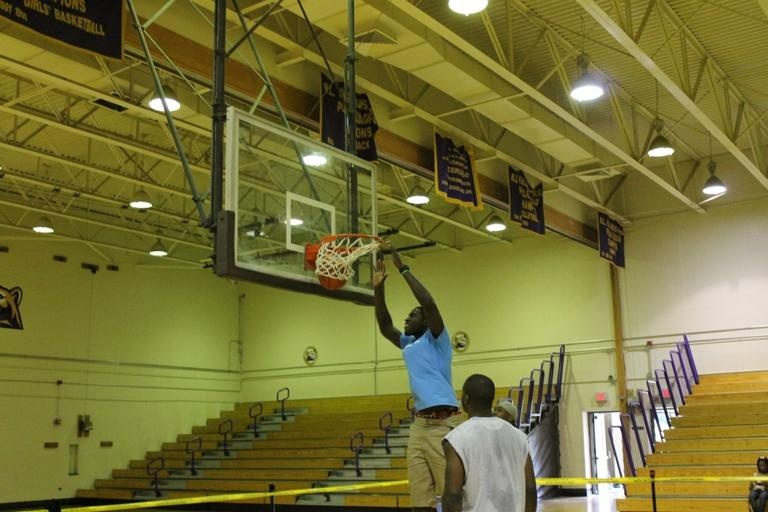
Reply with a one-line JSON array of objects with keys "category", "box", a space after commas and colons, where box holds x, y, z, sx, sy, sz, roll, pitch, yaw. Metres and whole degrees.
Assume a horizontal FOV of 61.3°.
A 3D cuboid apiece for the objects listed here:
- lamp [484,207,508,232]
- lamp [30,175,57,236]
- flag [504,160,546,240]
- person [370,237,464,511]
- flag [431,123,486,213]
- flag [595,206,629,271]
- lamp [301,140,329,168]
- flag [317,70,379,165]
[{"category": "lamp", "box": [3.083, -1.018, 18.014, 0.671, 0.724, 0.722, -1, -16, 5]}, {"category": "lamp", "box": [-9.077, -1.048, 17.008, 0.742, 0.817, 0.728, 13, -18, -28]}, {"category": "flag", "box": [3.624, -1.530, 16.593, 0.210, 1.525, 1.568, -10, -21, 35]}, {"category": "person", "box": [0.357, 1.134, 6.986, 0.833, 3.033, 1.085, -3, -15, -1]}, {"category": "flag", "box": [1.702, -2.105, 14.697, 0.217, 1.437, 1.610, -21, -37, 30]}, {"category": "flag", "box": [6.813, -0.591, 19.294, 0.079, 1.271, 1.699, -8, -20, 31]}, {"category": "lamp", "box": [-0.894, -1.288, 8.201, 0.266, 0.065, 0.269, 6, -32, -17]}, {"category": "flag", "box": [-0.700, -2.726, 12.438, 1.129, 1.695, 0.461, 4, -17, -25]}]
